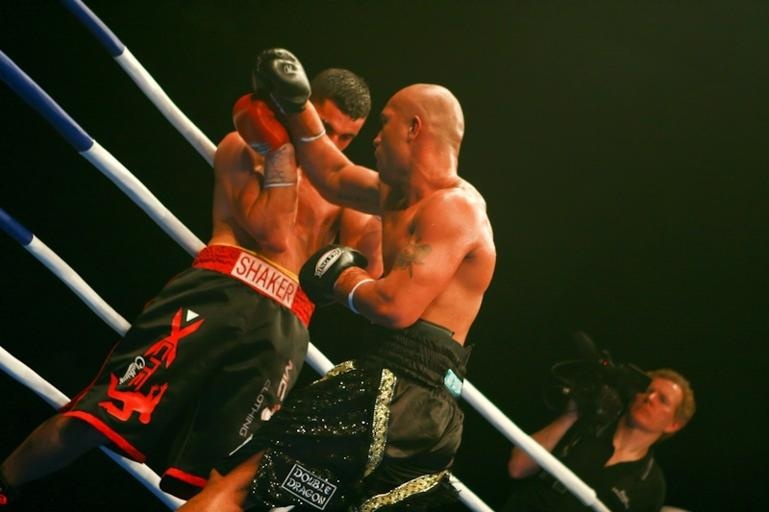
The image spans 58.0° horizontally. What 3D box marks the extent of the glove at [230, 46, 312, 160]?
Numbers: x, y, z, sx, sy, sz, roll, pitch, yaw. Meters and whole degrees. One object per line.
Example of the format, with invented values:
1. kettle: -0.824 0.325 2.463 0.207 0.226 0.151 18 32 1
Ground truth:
1. glove: -0.462 -0.626 2.942 0.309 0.199 0.432 42 -54 8
